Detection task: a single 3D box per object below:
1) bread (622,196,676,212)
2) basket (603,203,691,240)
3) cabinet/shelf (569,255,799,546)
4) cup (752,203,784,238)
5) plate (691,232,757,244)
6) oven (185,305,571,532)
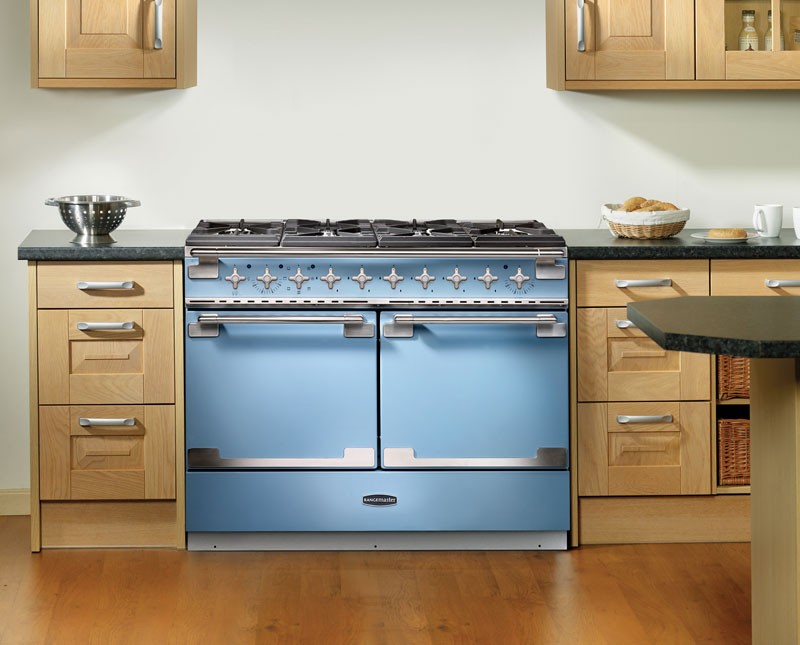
[{"bbox_3d":[0.962,-0.449,3.012,0.138,0.040,0.110,1,0,17],"label":"bread"},{"bbox_3d":[0.943,-0.398,2.949,0.208,0.072,0.187,-5,9,-20],"label":"basket"},{"bbox_3d":[0.970,0.292,2.816,0.738,1.026,0.202,-1,16,-2],"label":"cabinet/shelf"},{"bbox_3d":[1.393,-0.376,2.966,0.100,0.101,0.155,8,15,42],"label":"cup"},{"bbox_3d":[1.218,-0.331,2.952,0.230,0.036,0.388,5,14,21],"label":"plate"},{"bbox_3d":[-0.063,0.344,3.086,1.441,0.738,0.827,0,-1,-1],"label":"oven"}]
